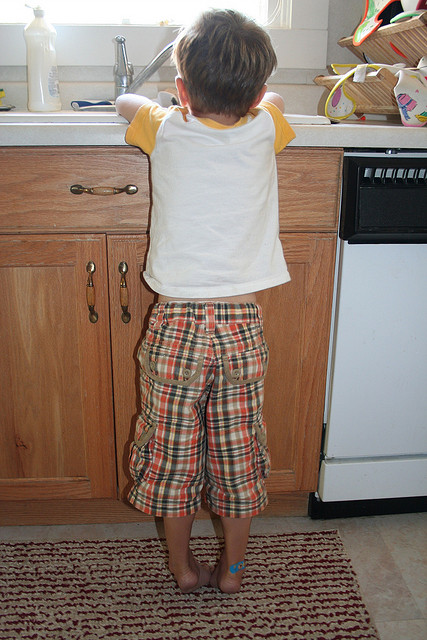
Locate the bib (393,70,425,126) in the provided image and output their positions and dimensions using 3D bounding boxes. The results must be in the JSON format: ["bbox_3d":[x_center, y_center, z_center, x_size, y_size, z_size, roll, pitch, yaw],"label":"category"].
[{"bbox_3d":[0.420,-0.474,1.118,0.070,0.112,0.027,5,15,14],"label":"bib"}]

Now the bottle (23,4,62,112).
[{"bbox_3d":[-0.439,-0.663,1.335,0.082,0.254,0.065,-4,15,-18],"label":"bottle"}]

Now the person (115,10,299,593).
[{"bbox_3d":[0.005,0.033,0.989,0.347,1.060,0.287,-2,14,-10],"label":"person"}]
